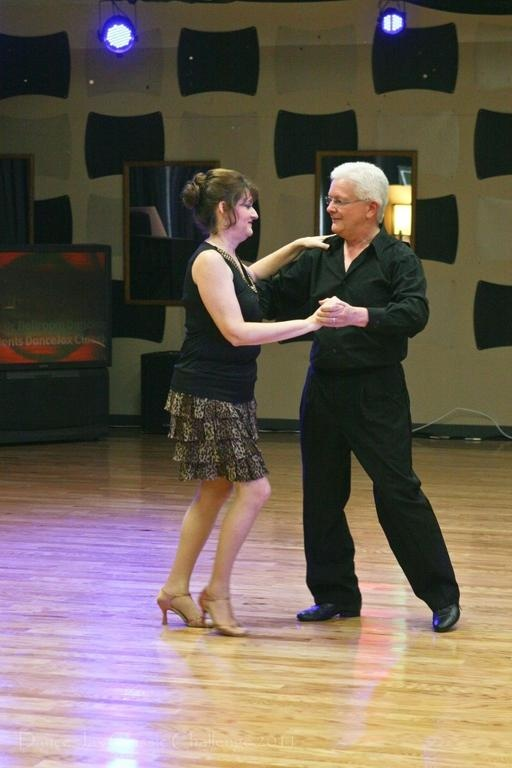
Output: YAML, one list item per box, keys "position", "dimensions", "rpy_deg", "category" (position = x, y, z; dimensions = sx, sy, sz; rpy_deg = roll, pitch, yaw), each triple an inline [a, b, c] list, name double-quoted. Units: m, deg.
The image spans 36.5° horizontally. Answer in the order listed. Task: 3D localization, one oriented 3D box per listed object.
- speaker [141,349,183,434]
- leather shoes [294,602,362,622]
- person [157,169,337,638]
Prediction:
- position: [-0.865, 0.102, 7.019]
  dimensions: [0.506, 0.794, 0.514]
  rpy_deg: [1, 7, -13]
  category: "speaker"
- position: [0.229, 0.755, 2.558]
  dimensions: [0.213, 0.078, 0.073]
  rpy_deg: [5, -5, -12]
  category: "leather shoes"
- position: [-0.065, 0.070, 2.392]
  dimensions: [0.466, 1.480, 0.498]
  rpy_deg: [2, 8, 0]
  category: "person"
